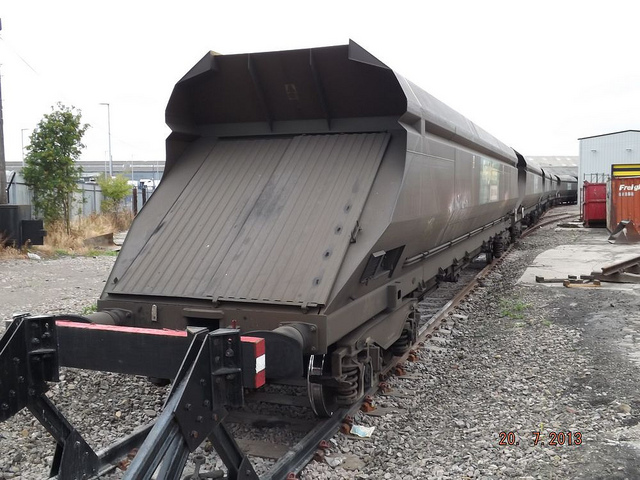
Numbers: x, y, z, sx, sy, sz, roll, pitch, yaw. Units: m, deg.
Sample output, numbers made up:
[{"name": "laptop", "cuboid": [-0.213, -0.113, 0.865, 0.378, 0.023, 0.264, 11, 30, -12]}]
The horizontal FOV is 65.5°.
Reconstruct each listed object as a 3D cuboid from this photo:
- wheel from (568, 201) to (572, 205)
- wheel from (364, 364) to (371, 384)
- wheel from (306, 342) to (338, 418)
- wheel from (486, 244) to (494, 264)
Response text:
[{"name": "wheel", "cuboid": [26.124, -3.852, 51.767, 0.233, 0.382, 1.458, -4, 1, 30]}, {"name": "wheel", "cuboid": [0.524, 1.477, 5.413, 0.034, 0.227, 0.188, 2, 7, 21]}, {"name": "wheel", "cuboid": [0.034, 1.511, 5.040, 0.291, 0.890, 0.561, 0, 7, 7]}, {"name": "wheel", "cuboid": [5.045, 0.415, 14.692, 0.213, 0.594, 0.735, 2, 7, 20]}]
